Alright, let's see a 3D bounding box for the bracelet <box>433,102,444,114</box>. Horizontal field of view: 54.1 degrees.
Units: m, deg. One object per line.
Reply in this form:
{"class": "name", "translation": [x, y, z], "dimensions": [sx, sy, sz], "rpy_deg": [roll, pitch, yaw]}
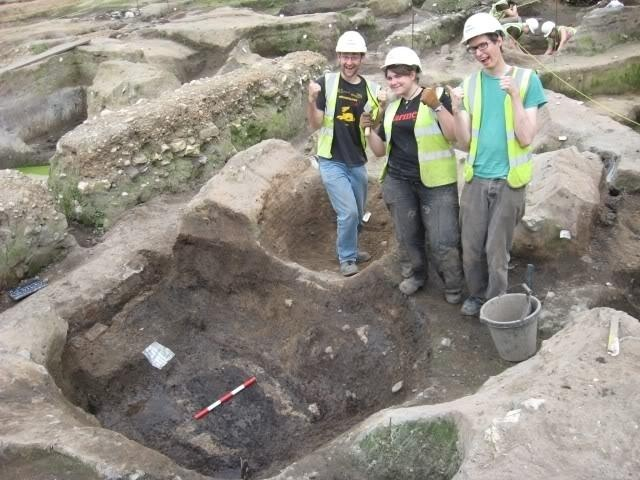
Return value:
{"class": "bracelet", "translation": [0.916, -1.020, 4.817], "dimensions": [0.027, 0.049, 0.060], "rpy_deg": [19, -1, -28]}

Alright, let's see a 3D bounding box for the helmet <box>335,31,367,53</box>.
{"class": "helmet", "translation": [0.269, -1.710, 5.440], "dimensions": [0.238, 0.193, 0.246], "rpy_deg": [-8, 35, 2]}

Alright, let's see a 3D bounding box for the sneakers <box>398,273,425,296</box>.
{"class": "sneakers", "translation": [0.818, 0.397, 5.560], "dimensions": [0.215, 0.145, 0.091], "rpy_deg": [-30, -13, 6]}

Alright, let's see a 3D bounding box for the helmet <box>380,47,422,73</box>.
{"class": "helmet", "translation": [0.674, -1.455, 4.952], "dimensions": [0.257, 0.153, 0.190], "rpy_deg": [13, -1, -33]}

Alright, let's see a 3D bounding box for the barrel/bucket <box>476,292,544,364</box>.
{"class": "barrel/bucket", "translation": [1.531, 0.704, 4.961], "dimensions": [0.415, 0.437, 0.454], "rpy_deg": [-14, 17, 4]}

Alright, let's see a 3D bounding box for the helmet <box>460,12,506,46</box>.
{"class": "helmet", "translation": [1.187, -1.610, 4.615], "dimensions": [0.211, 0.165, 0.298], "rpy_deg": [-20, 10, 38]}

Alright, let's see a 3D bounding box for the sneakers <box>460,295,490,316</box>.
{"class": "sneakers", "translation": [1.293, 0.545, 5.245], "dimensions": [0.203, 0.088, 0.118], "rpy_deg": [-22, 66, 0]}

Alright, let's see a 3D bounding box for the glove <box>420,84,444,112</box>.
{"class": "glove", "translation": [0.876, -1.111, 4.887], "dimensions": [0.163, 0.193, 0.224], "rpy_deg": [0, 36, 12]}

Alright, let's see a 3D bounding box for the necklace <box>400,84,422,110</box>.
{"class": "necklace", "translation": [0.749, -1.180, 5.077], "dimensions": [0.170, 0.111, 0.093], "rpy_deg": [-9, 34, 0]}

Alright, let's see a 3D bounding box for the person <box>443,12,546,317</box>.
{"class": "person", "translation": [1.377, -0.491, 4.876], "dimensions": [0.579, 2.245, 0.785], "rpy_deg": [4, 35, 18]}
